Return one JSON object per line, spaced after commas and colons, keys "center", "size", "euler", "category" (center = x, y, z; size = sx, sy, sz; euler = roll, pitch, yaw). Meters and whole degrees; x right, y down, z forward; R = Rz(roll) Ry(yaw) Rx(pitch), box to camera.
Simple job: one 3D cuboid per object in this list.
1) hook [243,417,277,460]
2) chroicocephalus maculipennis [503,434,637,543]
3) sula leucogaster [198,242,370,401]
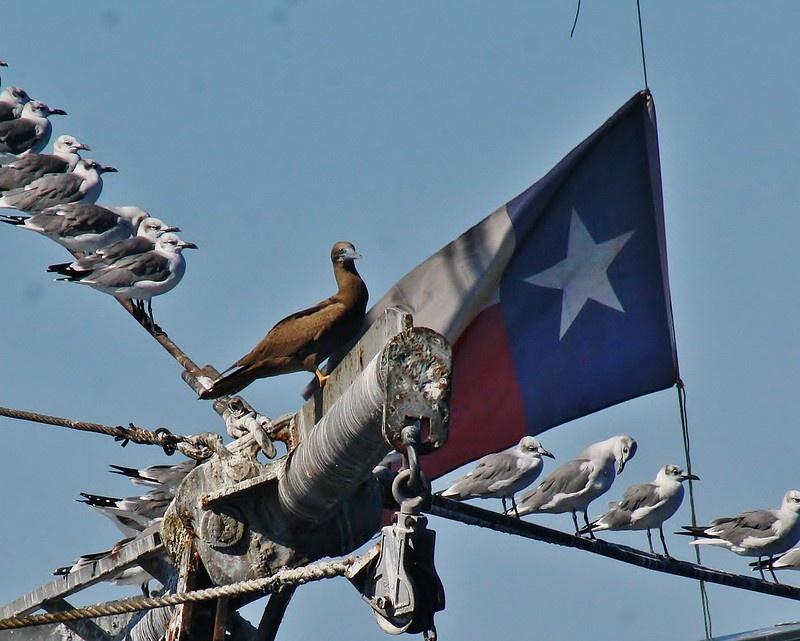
{"center": [-1.040, 0.983, 18.495], "size": [0.316, 0.422, 0.206], "euler": [0, -52, 13], "category": "hook"}
{"center": [2.424, 1.978, 24.284], "size": [1.184, 0.544, 1.015], "euler": [-2, -95, 22], "category": "chroicocephalus maculipennis"}
{"center": [-0.843, 0.175, 20.304], "size": [0.971, 1.991, 0.549], "euler": [4, -50, 10], "category": "sula leucogaster"}
